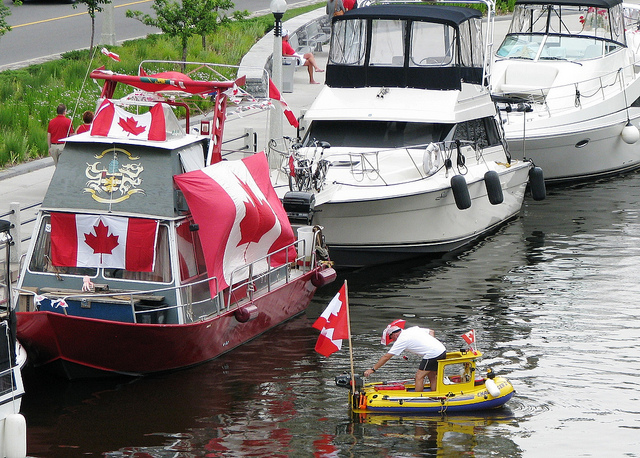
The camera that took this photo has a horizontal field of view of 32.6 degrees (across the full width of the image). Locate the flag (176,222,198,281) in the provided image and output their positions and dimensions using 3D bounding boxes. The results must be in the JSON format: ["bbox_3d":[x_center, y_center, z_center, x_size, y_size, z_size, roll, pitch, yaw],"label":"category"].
[{"bbox_3d":[-2.194,0.338,18.096,0.094,0.935,0.898,-2,12,21],"label":"flag"}]

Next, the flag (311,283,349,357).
[{"bbox_3d":[0.184,1.440,17.429,0.529,1.222,0.314,-4,10,-1],"label":"flag"}]

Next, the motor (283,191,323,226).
[{"bbox_3d":[-0.259,-0.378,20.636,0.627,0.534,0.635,-2,7,-33],"label":"motor"}]

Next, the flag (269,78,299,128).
[{"bbox_3d":[-0.697,-2.320,20.115,0.318,1.005,0.277,-36,12,26],"label":"flag"}]

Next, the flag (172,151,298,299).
[{"bbox_3d":[-1.271,-0.232,18.676,0.483,2.070,2.878,-5,7,30],"label":"flag"}]

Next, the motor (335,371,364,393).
[{"bbox_3d":[0.471,2.383,17.138,0.343,0.216,0.345,4,-2,-37],"label":"motor"}]

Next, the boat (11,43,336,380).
[{"bbox_3d":[-2.715,-0.429,20.116,3.846,3.972,7.672,8,18,26],"label":"boat"}]

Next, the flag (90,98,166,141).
[{"bbox_3d":[-3.099,-1.794,17.923,1.332,0.639,0.126,2,14,-33],"label":"flag"}]

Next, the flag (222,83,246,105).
[{"bbox_3d":[-1.471,-2.368,18.963,0.315,0.261,0.284,0,6,2],"label":"flag"}]

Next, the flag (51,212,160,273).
[{"bbox_3d":[-3.523,0.197,17.802,1.971,0.871,0.152,4,6,19],"label":"flag"}]

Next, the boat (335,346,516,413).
[{"bbox_3d":[1.724,2.260,17.172,2.439,0.819,1.126,-1,7,-2],"label":"boat"}]
